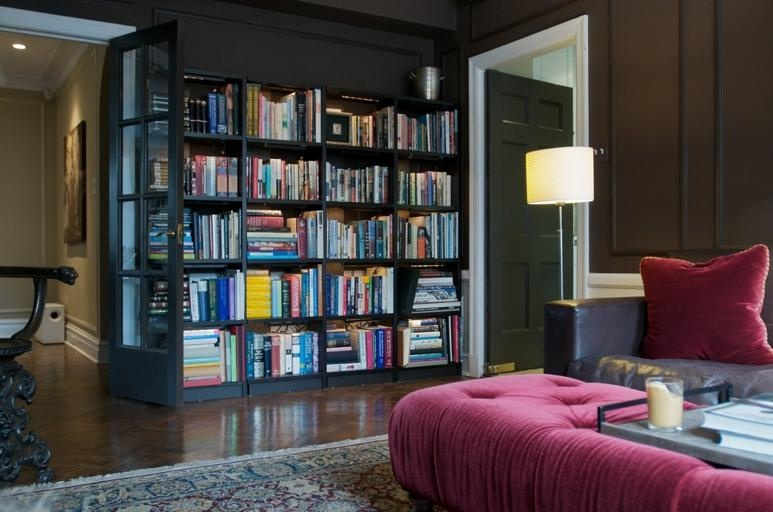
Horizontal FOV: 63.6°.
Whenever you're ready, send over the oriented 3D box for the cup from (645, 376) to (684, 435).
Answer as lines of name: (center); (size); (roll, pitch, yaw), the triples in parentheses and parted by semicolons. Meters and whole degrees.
cup: (1.094, 0.577, 2.427); (0.200, 0.204, 0.177); (-1, -2, 22)
